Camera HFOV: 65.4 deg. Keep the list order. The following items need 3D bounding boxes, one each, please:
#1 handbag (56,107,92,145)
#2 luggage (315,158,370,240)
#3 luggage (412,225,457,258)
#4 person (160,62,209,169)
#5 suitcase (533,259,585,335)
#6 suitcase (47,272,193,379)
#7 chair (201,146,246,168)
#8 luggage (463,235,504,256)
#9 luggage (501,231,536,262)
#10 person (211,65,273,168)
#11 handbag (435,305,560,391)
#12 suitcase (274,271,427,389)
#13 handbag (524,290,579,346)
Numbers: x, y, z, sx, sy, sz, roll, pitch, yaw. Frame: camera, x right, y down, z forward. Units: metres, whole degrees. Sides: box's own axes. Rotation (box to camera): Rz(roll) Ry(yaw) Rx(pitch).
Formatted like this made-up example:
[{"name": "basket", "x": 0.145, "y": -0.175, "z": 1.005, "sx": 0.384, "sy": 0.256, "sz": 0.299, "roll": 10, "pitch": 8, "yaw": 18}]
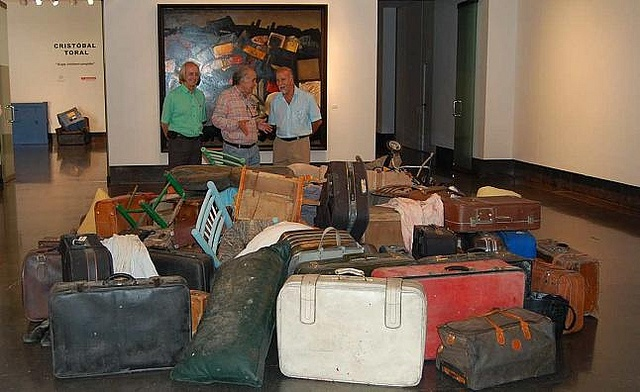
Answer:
[{"name": "handbag", "x": -8.318, "y": -2.347, "z": 16.957, "sx": 1.108, "sy": 1.400, "sz": 1.445, "roll": -4, "pitch": -5, "yaw": -12}, {"name": "luggage", "x": 0.246, "y": 0.063, "z": 5.196, "sx": 0.334, "sy": 0.856, "sz": 0.900, "roll": 1, "pitch": -4, "yaw": -9}, {"name": "luggage", "x": 1.120, "y": 0.451, "z": 4.944, "sx": 0.447, "sy": 0.406, "sz": 0.313, "roll": 0, "pitch": 11, "yaw": -7}, {"name": "person", "x": -2.031, "y": -1.199, "z": 7.495, "sx": 0.656, "sy": 1.546, "sz": 0.490, "roll": -4, "pitch": 11, "yaw": -16}, {"name": "suitcase", "x": 2.091, "y": 0.908, "z": 4.369, "sx": 0.226, "sy": 0.522, "sz": 0.555, "roll": -4, "pitch": 9, "yaw": -20}, {"name": "suitcase", "x": -1.540, "y": 1.042, "z": 3.898, "sx": 0.797, "sy": 0.550, "sz": 0.275, "roll": -1, "pitch": 11, "yaw": -7}, {"name": "chair", "x": -1.234, "y": -0.471, "z": 6.355, "sx": 0.417, "sy": 0.404, "sz": 0.649, "roll": 3, "pitch": 4, "yaw": -15}, {"name": "luggage", "x": 1.634, "y": 0.501, "z": 4.958, "sx": 0.390, "sy": 0.179, "sz": 0.344, "roll": 1, "pitch": 11, "yaw": 13}, {"name": "luggage", "x": 2.010, "y": 0.472, "z": 5.075, "sx": 0.368, "sy": 0.236, "sz": 0.268, "roll": -1, "pitch": 5, "yaw": -3}, {"name": "person", "x": -1.162, "y": -1.160, "z": 7.386, "sx": 0.844, "sy": 1.433, "sz": 0.578, "roll": -2, "pitch": 10, "yaw": -3}, {"name": "handbag", "x": 1.384, "y": 1.173, "z": 3.796, "sx": 0.652, "sy": 0.354, "sz": 0.631, "roll": -7, "pitch": 7, "yaw": -25}, {"name": "suitcase", "x": 0.238, "y": 1.029, "z": 3.747, "sx": 0.856, "sy": 0.573, "sz": 0.296, "roll": 1, "pitch": 3, "yaw": 7}, {"name": "handbag", "x": 2.004, "y": 1.051, "z": 4.266, "sx": 0.457, "sy": 0.408, "sz": 0.361, "roll": 3, "pitch": -3, "yaw": -6}]
